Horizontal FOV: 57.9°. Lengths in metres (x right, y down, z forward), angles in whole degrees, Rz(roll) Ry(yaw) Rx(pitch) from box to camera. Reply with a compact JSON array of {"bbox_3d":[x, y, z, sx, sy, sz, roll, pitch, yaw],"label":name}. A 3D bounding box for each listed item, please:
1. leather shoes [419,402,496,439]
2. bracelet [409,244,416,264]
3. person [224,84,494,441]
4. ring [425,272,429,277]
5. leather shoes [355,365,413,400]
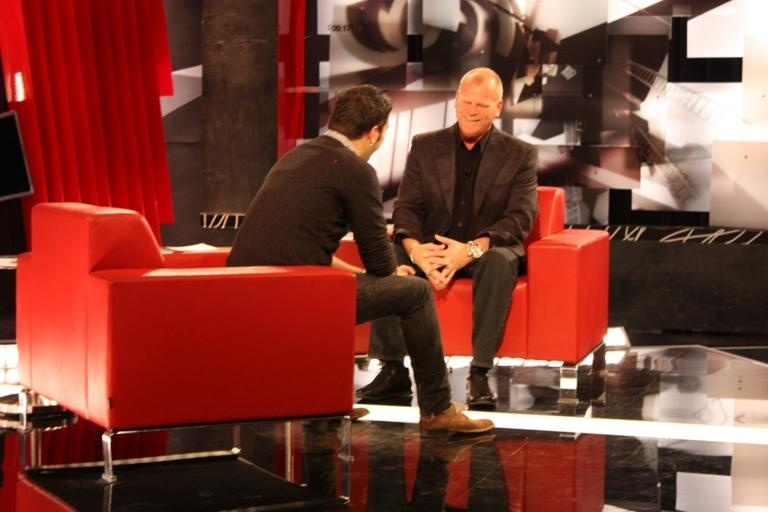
[{"bbox_3d":[0.309,0.718,3.057,0.357,0.153,0.126,-1,0,-6],"label":"leather shoes"},{"bbox_3d":[0.145,-0.003,3.501,0.028,0.074,0.057,9,14,21],"label":"bracelet"},{"bbox_3d":[0.090,-0.054,3.143,1.368,1.759,0.919,-2,9,-28],"label":"person"},{"bbox_3d":[0.212,0.096,3.428,0.017,0.019,0.018,1,2,0],"label":"ring"},{"bbox_3d":[0.020,0.638,3.549,0.339,0.206,0.122,1,-2,-15],"label":"leather shoes"}]
